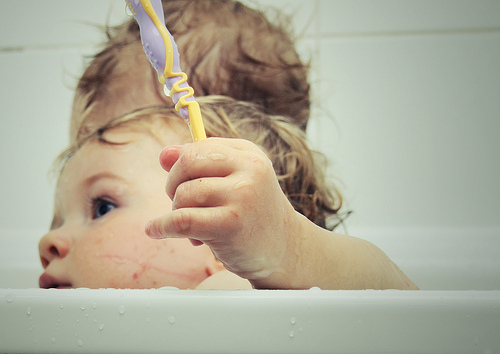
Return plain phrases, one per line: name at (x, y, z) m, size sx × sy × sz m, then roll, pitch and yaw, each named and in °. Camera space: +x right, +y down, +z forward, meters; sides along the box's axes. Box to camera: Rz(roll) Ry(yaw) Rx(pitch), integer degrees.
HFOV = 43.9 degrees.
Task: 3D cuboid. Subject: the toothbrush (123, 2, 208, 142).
toothbrush at (-0.226, -0.267, 1.667) m, size 0.078 × 0.443 × 0.089 m, roll -22°, pitch -1°, yaw -13°
